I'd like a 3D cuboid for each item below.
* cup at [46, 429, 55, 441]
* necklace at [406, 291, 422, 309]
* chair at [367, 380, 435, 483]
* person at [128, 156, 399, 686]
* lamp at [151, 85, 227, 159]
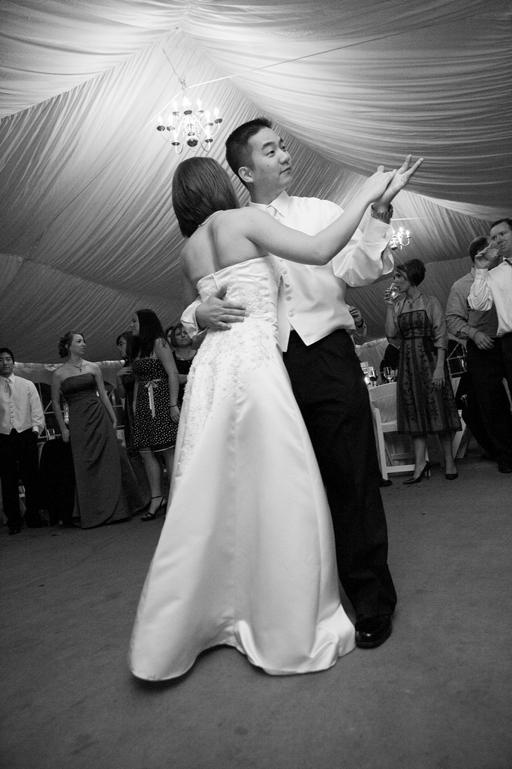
[{"bbox_3d":[-1.845,0.444,4.131,0.065,0.100,0.052,8,-8,-40],"label":"cup"},{"bbox_3d":[1.073,-0.571,3.147,0.055,0.119,0.083,14,-20,-39],"label":"necklace"},{"bbox_3d":[1.098,0.452,3.645,0.395,0.638,0.420,-9,1,34],"label":"chair"},{"bbox_3d":[-0.058,0.083,1.025,0.445,0.980,0.266,-6,-5,3],"label":"person"},{"bbox_3d":[-0.418,-1.583,2.925,0.344,0.401,0.507,-20,42,-3],"label":"lamp"}]
